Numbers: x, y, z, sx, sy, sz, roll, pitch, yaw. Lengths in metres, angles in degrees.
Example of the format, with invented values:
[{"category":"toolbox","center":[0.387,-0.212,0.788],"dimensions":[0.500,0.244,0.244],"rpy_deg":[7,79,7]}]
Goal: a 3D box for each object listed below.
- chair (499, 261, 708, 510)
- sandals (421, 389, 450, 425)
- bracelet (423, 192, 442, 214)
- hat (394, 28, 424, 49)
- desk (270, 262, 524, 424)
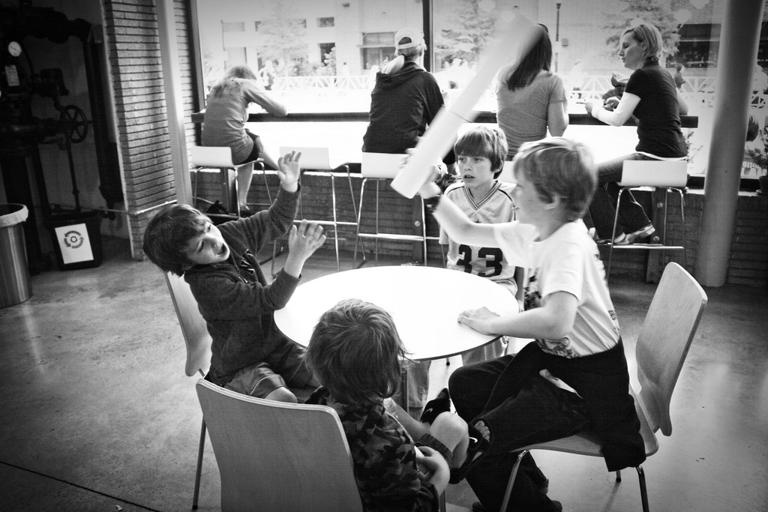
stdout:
[{"category":"chair","center":[0.991,0.637,2.544],"dimensions":[0.813,1.308,0.698],"rpy_deg":[4,25,7]},{"category":"sandals","center":[0.213,0.611,2.342],"dimensions":[0.092,0.144,0.109],"rpy_deg":[36,-12,26]},{"category":"bracelet","center":[0.238,-0.273,2.749],"dimensions":[0.076,0.095,0.088],"rpy_deg":[0,26,8]},{"category":"hat","center":[0.217,-1.897,4.796],"dimensions":[0.243,0.132,0.157],"rpy_deg":[-9,35,-8]},{"category":"desk","center":[0.079,0.359,2.748],"dimensions":[0.903,0.580,0.902],"rpy_deg":[-10,24,-16]}]
